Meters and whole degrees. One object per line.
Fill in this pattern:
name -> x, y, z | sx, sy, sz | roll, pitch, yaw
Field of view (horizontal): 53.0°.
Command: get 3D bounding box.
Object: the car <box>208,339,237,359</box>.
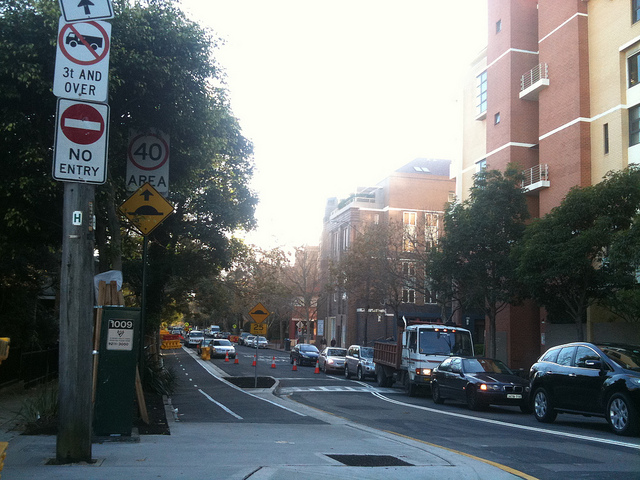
car -> -8.179, 9.002, 53.551 | 1.764, 1.721, 3.633 | 6, -13, -17

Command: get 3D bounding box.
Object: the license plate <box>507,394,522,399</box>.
license plate -> 6.226, 4.990, 20.608 | 0.500, 0.133, 0.045 | 6, -10, -14

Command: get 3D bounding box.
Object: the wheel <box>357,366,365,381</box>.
wheel -> 2.241, 7.188, 34.929 | 0.242, 0.883, 0.806 | 1, -4, -8

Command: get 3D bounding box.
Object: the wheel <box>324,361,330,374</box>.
wheel -> 0.439, 7.904, 40.039 | 0.286, 0.759, 0.468 | 6, -11, -22

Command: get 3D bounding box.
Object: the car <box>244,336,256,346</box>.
car -> -9.012, 13.238, 84.484 | 1.304, 1.320, 2.345 | 2, -10, -11

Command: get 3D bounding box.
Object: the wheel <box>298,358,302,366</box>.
wheel -> -1.482, 8.999, 47.944 | 0.125, 0.454, 0.777 | 5, -13, -16

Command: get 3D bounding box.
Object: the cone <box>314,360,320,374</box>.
cone -> -0.117, 8.039, 40.525 | 0.392, 0.628, 0.433 | 2, -11, -6

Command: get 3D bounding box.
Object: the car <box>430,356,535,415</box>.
car -> 5.945, 5.078, 22.692 | 3.170, 1.847, 4.315 | 8, -14, -25

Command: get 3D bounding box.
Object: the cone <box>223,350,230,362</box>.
cone -> -7.457, 9.224, 51.474 | 0.547, 0.872, 0.610 | 1, -11, -7

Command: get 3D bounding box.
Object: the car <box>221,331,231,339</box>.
car -> -13.831, 13.585, 94.280 | 1.231, 1.250, 2.252 | 2, -16, -10

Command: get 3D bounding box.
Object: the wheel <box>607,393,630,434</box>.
wheel -> 6.944, 4.023, 14.997 | 0.127, 0.914, 0.694 | 3, -11, -10

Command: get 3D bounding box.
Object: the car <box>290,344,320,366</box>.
car -> -1.219, 8.577, 48.424 | 1.093, 0.961, 2.449 | 3, -14, -19

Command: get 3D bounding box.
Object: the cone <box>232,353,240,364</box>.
cone -> -5.973, 8.616, 46.932 | 0.603, 0.926, 0.669 | 2, -8, -11

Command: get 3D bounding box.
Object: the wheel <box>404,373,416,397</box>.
wheel -> 3.717, 5.932, 26.492 | 0.270, 1.011, 0.913 | 3, 9, -2

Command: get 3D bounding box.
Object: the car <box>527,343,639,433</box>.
car -> 6.785, 3.670, 16.312 | 0.951, 2.153, 3.773 | 4, -13, -13

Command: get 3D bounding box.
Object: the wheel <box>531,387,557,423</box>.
wheel -> 6.185, 4.536, 17.760 | 0.249, 0.933, 0.850 | 5, -12, -18

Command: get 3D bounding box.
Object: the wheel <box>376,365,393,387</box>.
wheel -> 3.057, 6.343, 30.167 | 0.469, 1.015, 1.281 | 5, -12, -19

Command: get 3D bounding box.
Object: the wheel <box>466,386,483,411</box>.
wheel -> 5.046, 5.122, 21.024 | 0.263, 0.886, 0.810 | 3, -4, -5

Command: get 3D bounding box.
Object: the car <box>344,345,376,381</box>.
car -> 2.239, 6.750, 35.650 | 1.148, 1.214, 2.280 | 4, -12, -19

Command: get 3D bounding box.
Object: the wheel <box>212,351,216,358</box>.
wheel -> -8.831, 9.448, 53.368 | 0.154, 0.500, 0.409 | 2, -11, -3

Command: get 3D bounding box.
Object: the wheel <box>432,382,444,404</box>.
wheel -> 4.306, 5.532, 23.376 | 0.248, 0.905, 0.825 | 2, -2, -6

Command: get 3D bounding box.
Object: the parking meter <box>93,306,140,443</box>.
parking meter -> -3.885, 2.458, 12.353 | 0.744, 2.883, 0.316 | 3, 20, -23

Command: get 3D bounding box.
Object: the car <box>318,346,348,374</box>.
car -> 0.770, 7.559, 40.528 | 1.505, 1.721, 2.450 | 2, -12, -1

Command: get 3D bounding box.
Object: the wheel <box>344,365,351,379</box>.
wheel -> 1.598, 7.461, 36.558 | 0.242, 0.784, 0.745 | 3, -11, -5
